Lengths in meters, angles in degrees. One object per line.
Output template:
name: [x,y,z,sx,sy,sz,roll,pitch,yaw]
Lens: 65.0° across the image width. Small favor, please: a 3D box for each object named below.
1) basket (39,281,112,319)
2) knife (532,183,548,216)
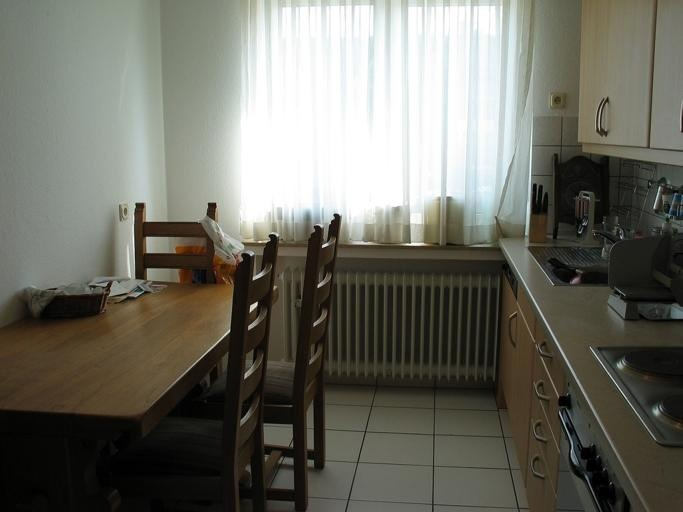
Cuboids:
basket: [-1.288,0.208,2.639,0.201,0.106,0.150,-4,5,-3]
knife: [1.278,-0.353,3.455,0.097,0.222,0.047,1,-3,12]
